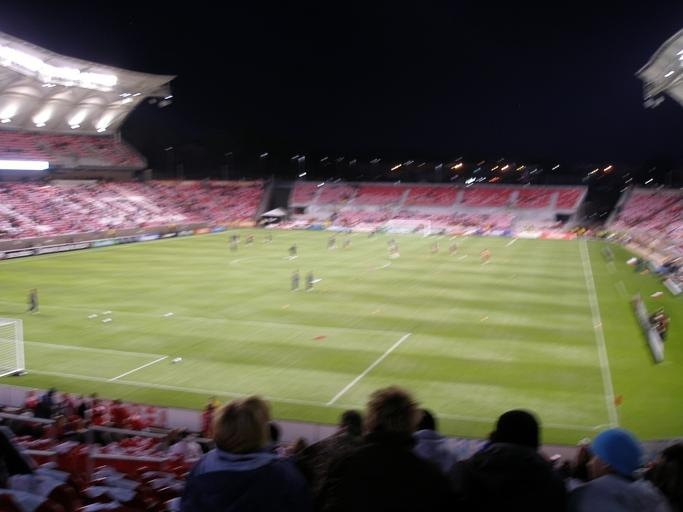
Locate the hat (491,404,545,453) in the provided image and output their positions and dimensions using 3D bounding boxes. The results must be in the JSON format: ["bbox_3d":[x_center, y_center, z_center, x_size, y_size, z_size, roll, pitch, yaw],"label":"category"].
[{"bbox_3d":[1.651,1.652,4.685,0.445,0.344,0.219,3,-16,10],"label":"hat"}]

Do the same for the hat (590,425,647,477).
[{"bbox_3d":[2.284,1.636,4.072,0.351,0.391,0.251,1,-16,20],"label":"hat"}]
